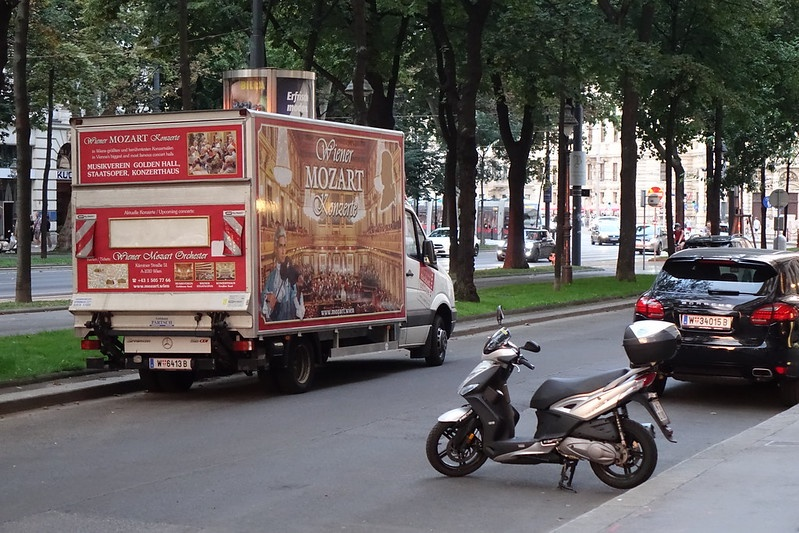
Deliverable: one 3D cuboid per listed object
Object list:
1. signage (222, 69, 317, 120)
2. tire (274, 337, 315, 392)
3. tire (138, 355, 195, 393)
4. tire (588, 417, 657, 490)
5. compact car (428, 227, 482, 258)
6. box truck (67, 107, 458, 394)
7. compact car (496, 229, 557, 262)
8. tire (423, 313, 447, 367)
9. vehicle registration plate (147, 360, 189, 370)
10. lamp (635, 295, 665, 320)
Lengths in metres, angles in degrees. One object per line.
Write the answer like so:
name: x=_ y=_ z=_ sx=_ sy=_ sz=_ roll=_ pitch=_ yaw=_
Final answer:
signage: x=-3.483 y=-4.237 z=20.377 sx=1.521 sy=1.160 sz=1.579 roll=0 pitch=8 yaw=3
tire: x=-1.617 y=1.483 z=12.635 sx=0.241 sy=0.733 sz=0.715 roll=-3 pitch=11 yaw=33
tire: x=-3.510 y=1.602 z=12.558 sx=0.598 sy=0.617 sz=0.317 roll=-2 pitch=-1 yaw=-36
tire: x=2.165 y=1.828 z=8.079 sx=0.574 sy=0.718 sz=0.316 roll=0 pitch=5 yaw=14
compact car: x=2.416 y=-1.448 z=48.102 sx=1.850 sy=1.472 sz=4.232 roll=-1 pitch=-5 yaw=18
box truck: x=-1.848 y=-0.176 z=15.645 sx=3.435 sy=4.193 sz=7.904 roll=0 pitch=2 yaw=27
compact car: x=8.540 y=-1.498 z=54.569 sx=2.031 sy=1.678 sz=4.467 roll=-1 pitch=-2 yaw=26
tire: x=0.627 y=1.365 z=15.422 sx=0.369 sy=0.936 sz=0.916 roll=2 pitch=-2 yaw=16
vehicle registration plate: x=-3.341 y=1.428 z=12.209 sx=0.710 sy=0.187 sz=0.088 roll=1 pitch=5 yaw=19
lamp: x=3.553 y=0.595 z=11.904 sx=0.387 sy=0.193 sz=0.214 roll=-3 pitch=7 yaw=-25
